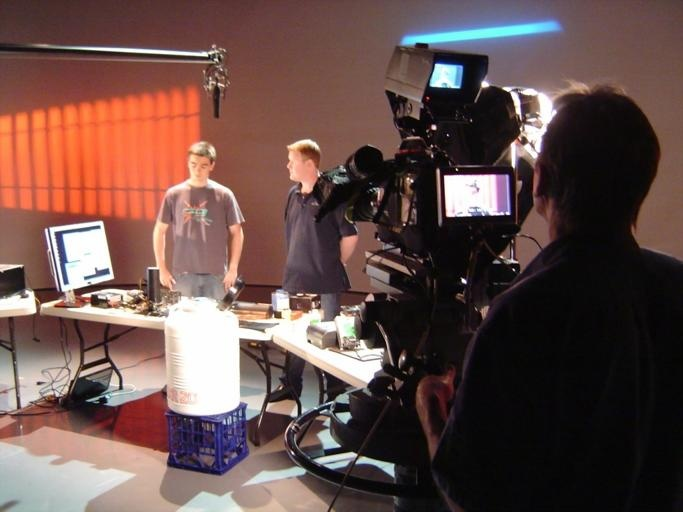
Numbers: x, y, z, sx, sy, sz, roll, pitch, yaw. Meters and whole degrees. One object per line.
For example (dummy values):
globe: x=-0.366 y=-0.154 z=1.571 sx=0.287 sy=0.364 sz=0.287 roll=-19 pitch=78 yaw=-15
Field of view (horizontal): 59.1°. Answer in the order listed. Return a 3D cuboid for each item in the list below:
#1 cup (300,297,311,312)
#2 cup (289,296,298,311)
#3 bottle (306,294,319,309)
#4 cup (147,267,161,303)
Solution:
cup: x=-0.231 y=0.310 z=3.795 sx=0.081 sy=0.078 sz=0.079 roll=0 pitch=4 yaw=0
cup: x=-0.308 y=0.300 z=3.837 sx=0.058 sy=0.080 sz=0.077 roll=-1 pitch=11 yaw=-10
bottle: x=-0.195 y=0.296 z=3.919 sx=0.078 sy=0.095 sz=0.145 roll=-1 pitch=2 yaw=0
cup: x=-1.281 y=0.180 z=4.075 sx=0.102 sy=0.238 sz=0.225 roll=-3 pitch=12 yaw=-17
